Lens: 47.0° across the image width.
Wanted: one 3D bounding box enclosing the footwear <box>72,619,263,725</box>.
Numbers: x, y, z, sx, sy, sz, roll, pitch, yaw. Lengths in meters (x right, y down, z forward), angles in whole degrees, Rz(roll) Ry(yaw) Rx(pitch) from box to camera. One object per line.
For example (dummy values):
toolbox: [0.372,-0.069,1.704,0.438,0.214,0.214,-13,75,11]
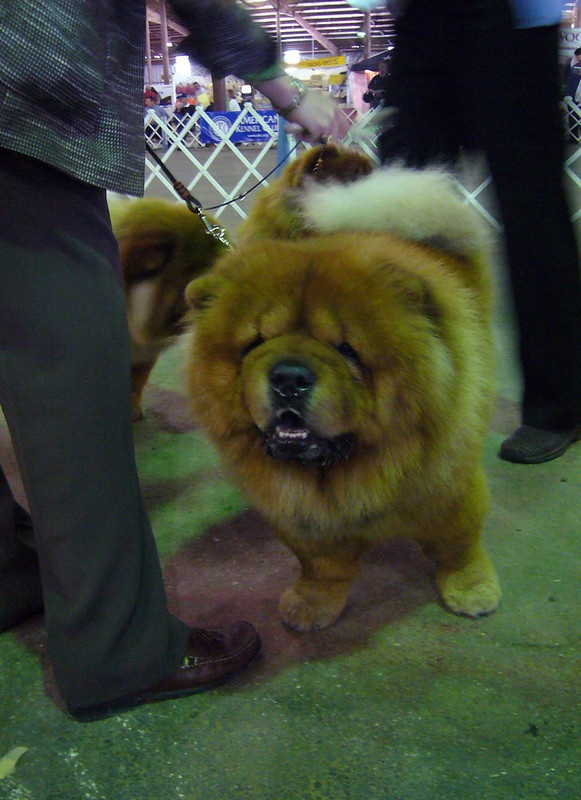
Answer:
footwear: [-0.257,0.616,1.669,0.469,0.162,0.162,-16,14,-32]
